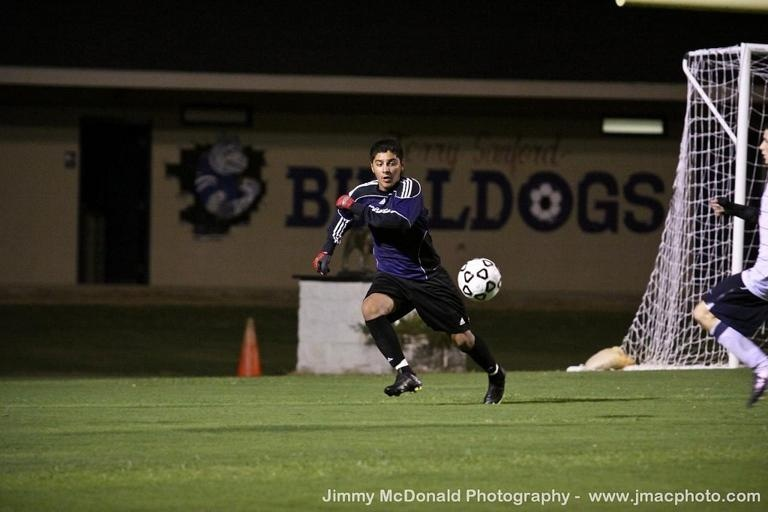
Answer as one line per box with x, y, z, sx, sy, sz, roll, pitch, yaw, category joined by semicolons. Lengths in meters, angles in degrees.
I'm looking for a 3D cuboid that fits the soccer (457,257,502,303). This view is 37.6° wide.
1.022;0.269;12.010;0.418;0.426;0.420;-4;3;-12;soccer

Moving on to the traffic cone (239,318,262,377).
-1.651;1.120;13.826;0.267;0.690;0.428;-1;7;-7;traffic cone

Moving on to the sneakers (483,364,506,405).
1.200;1.407;11.956;0.160;0.487;0.208;13;3;27;sneakers

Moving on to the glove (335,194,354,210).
-0.396;-0.530;11.619;0.159;0.065;0.129;22;53;40;glove

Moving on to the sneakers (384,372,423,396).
0.187;1.304;11.380;0.363;0.192;0.200;-6;-12;-20;sneakers
